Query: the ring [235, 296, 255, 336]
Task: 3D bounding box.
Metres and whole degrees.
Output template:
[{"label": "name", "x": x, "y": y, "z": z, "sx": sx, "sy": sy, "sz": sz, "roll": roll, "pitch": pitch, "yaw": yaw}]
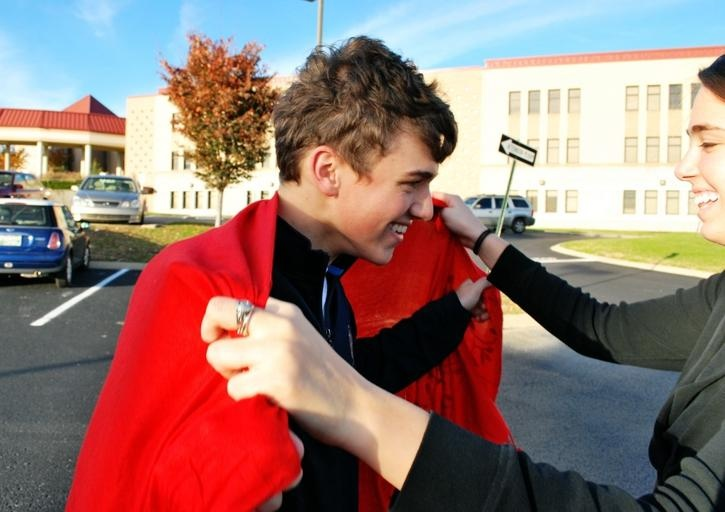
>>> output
[{"label": "ring", "x": -0.309, "y": 0.166, "z": 1.541, "sx": 0.055, "sy": 0.082, "sz": 0.027, "roll": -4, "pitch": -12, "yaw": 44}]
